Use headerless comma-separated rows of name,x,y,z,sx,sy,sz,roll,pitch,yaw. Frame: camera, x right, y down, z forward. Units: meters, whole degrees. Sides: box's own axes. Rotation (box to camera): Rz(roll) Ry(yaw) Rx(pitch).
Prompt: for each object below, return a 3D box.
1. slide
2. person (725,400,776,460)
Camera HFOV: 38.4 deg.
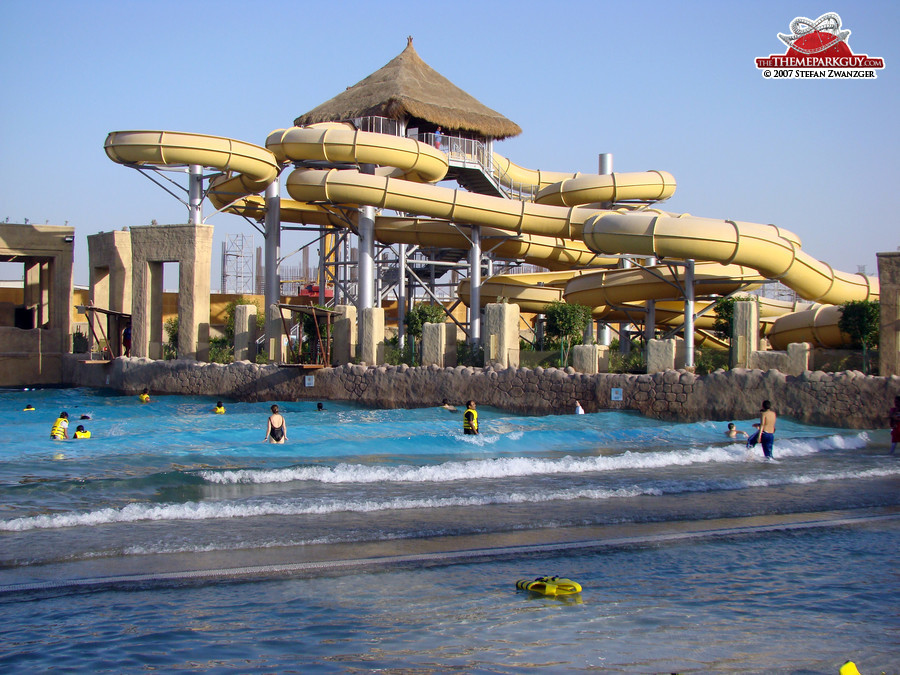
slide,1.681,-3.834,37.453,21.709,5.158,10.425,3,7,28
person,5.855,1.779,24.507,0.675,1.433,0.566,0,0,17
